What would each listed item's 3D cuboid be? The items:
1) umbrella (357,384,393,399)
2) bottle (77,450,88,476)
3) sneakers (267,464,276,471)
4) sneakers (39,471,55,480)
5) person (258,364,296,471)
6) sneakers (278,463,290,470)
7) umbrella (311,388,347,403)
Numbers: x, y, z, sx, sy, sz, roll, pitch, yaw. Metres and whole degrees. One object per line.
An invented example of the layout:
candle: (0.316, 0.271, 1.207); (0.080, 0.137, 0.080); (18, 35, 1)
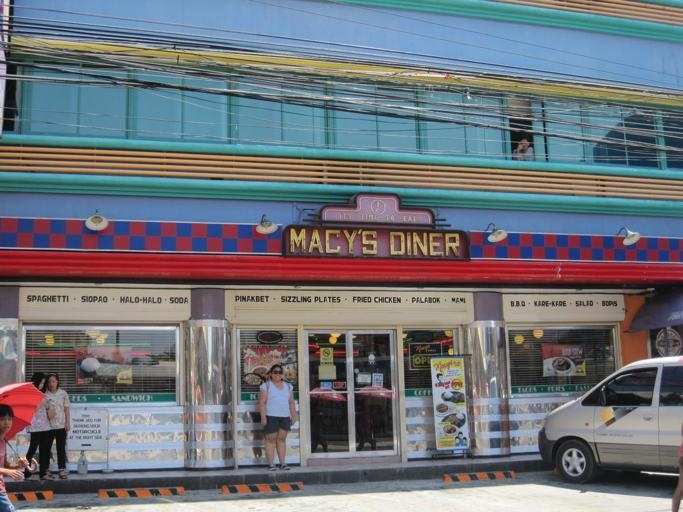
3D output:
umbrella: (0.704, 2.804, 19.295); (0.738, 0.287, 0.133); (2, -12, -25)
bottle: (-4.884, 3.874, 17.550); (0.182, 0.426, 0.311); (0, -11, -15)
sneakers: (-1.334, 4.044, 17.860); (0.128, 0.085, 0.232); (1, -16, -14)
sneakers: (-5.254, 3.913, 16.565); (0.277, 0.084, 0.108); (-3, -3, 14)
person: (-1.236, 3.111, 18.118); (0.691, 1.992, 0.447); (-1, -12, -9)
sneakers: (-1.099, 4.044, 17.892); (0.226, 0.068, 0.078); (-5, -11, 28)
umbrella: (-0.249, 2.834, 19.119); (0.912, 0.202, 0.235); (9, -2, -5)
